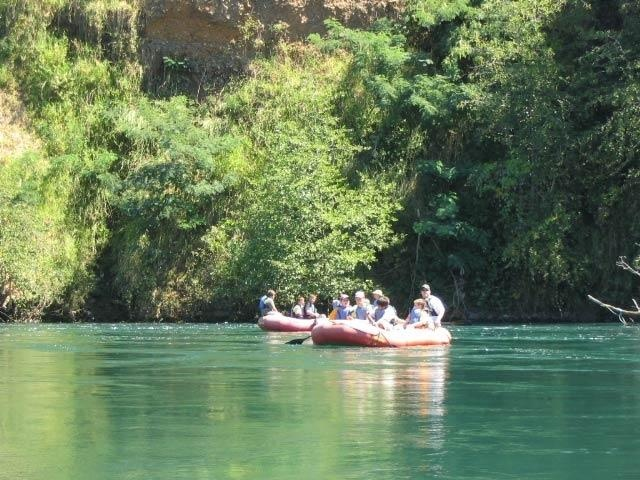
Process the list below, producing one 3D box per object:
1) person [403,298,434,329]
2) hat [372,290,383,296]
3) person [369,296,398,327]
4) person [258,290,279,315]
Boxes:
[{"bbox_3d":[3.539,2.640,50.972,0.669,1.171,0.630,12,31,24],"label":"person"},{"bbox_3d":[1.998,1.845,49.757,0.225,0.162,0.339,6,-18,18],"label":"hat"},{"bbox_3d":[2.188,2.525,48.932,0.922,1.116,0.924,5,-7,-33],"label":"person"},{"bbox_3d":[-2.105,2.551,57.894,0.545,1.318,0.521,-11,26,-25],"label":"person"}]
